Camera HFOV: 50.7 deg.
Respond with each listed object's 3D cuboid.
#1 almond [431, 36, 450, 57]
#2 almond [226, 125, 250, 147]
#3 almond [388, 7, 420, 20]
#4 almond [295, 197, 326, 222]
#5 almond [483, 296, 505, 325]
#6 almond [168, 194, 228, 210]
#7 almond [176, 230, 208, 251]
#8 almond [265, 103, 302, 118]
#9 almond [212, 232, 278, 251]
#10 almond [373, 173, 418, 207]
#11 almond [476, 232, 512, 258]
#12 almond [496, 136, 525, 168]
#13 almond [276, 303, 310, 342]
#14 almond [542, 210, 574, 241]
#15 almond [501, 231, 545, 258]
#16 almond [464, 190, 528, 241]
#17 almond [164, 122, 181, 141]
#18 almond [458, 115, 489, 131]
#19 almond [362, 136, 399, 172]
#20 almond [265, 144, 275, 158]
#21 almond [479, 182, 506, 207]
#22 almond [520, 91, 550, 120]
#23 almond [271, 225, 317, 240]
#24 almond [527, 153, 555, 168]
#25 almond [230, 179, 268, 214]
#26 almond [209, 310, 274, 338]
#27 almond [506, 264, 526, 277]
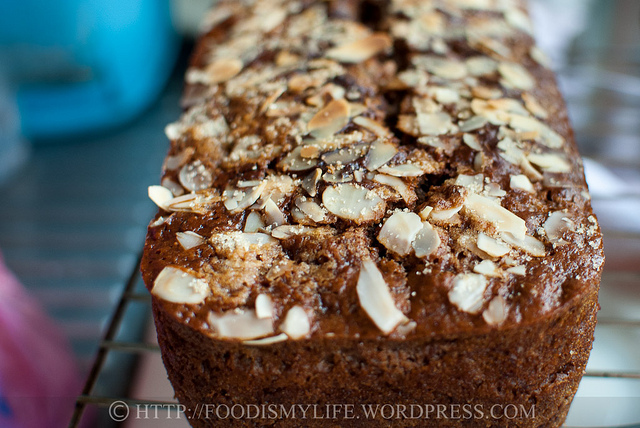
[{"bbox_3d":[0.399,-0.564,2.260,0.050,0.019,0.083,-2,47,-8],"label":"almond"},{"bbox_3d":[-0.248,-0.242,2.046,0.069,0.016,0.067,-25,41,32],"label":"almond"},{"bbox_3d":[0.298,-0.715,2.373,0.065,0.016,0.065,2,32,-2],"label":"almond"},{"bbox_3d":[-0.027,-0.008,1.808,0.096,0.011,0.049,37,87,25],"label":"almond"},{"bbox_3d":[0.438,0.238,1.672,0.043,0.015,0.062,11,74,-1],"label":"almond"},{"bbox_3d":[-0.339,-0.033,1.868,0.153,0.020,0.056,-7,44,-6],"label":"almond"},{"bbox_3d":[-0.340,0.063,1.796,0.075,0.014,0.058,-19,65,-7],"label":"almond"},{"bbox_3d":[-0.112,-0.319,2.054,0.062,0.019,0.065,9,42,8],"label":"almond"},{"bbox_3d":[-0.197,0.071,1.776,0.168,0.012,0.050,-3,64,0],"label":"almond"},{"bbox_3d":[0.203,-0.076,1.840,0.112,0.026,0.073,41,65,6],"label":"almond"},{"bbox_3d":[0.444,0.082,1.748,0.084,0.024,0.045,33,56,19],"label":"almond"},{"bbox_3d":[0.545,-0.180,1.936,0.076,0.018,0.076,23,47,-7],"label":"almond"},{"bbox_3d":[-0.060,0.272,1.685,0.069,0.023,0.084,23,67,13],"label":"almond"},{"bbox_3d":[0.627,0.027,1.796,0.064,0.009,0.111,22,55,23],"label":"almond"},{"bbox_3d":[0.527,0.077,1.763,0.098,0.011,0.061,32,48,18],"label":"almond"},{"bbox_3d":[0.461,0.009,1.795,0.191,0.021,0.073,33,69,17],"label":"almond"},{"bbox_3d":[-0.457,-0.264,2.144,0.068,0.019,0.069,-6,72,34],"label":"almond"},{"bbox_3d":[0.448,-0.270,1.995,0.052,0.005,0.053,7,44,25],"label":"almond"},{"bbox_3d":[0.163,-0.169,1.892,0.064,0.011,0.109,31,51,21],"label":"almond"},{"bbox_3d":[-0.152,-0.187,1.961,0.024,0.009,0.040,2,54,10],"label":"almond"},{"bbox_3d":[0.473,-0.061,1.816,0.061,0.010,0.061,2,58,-4],"label":"almond"},{"bbox_3d":[0.659,-0.337,2.097,0.064,0.022,0.107,1,44,-25],"label":"almond"},{"bbox_3d":[-0.073,0.046,1.785,0.113,0.008,0.044,1,64,2],"label":"almond"},{"bbox_3d":[0.629,-0.156,1.936,0.063,0.015,0.039,27,46,3],"label":"almond"},{"bbox_3d":[-0.195,-0.040,1.845,0.041,0.036,0.138,25,79,20],"label":"almond"},{"bbox_3d":[-0.197,0.275,1.680,0.156,0.013,0.063,-2,64,1],"label":"almond"},{"bbox_3d":[0.497,0.141,1.721,0.048,0.007,0.030,5,64,4],"label":"almond"}]
